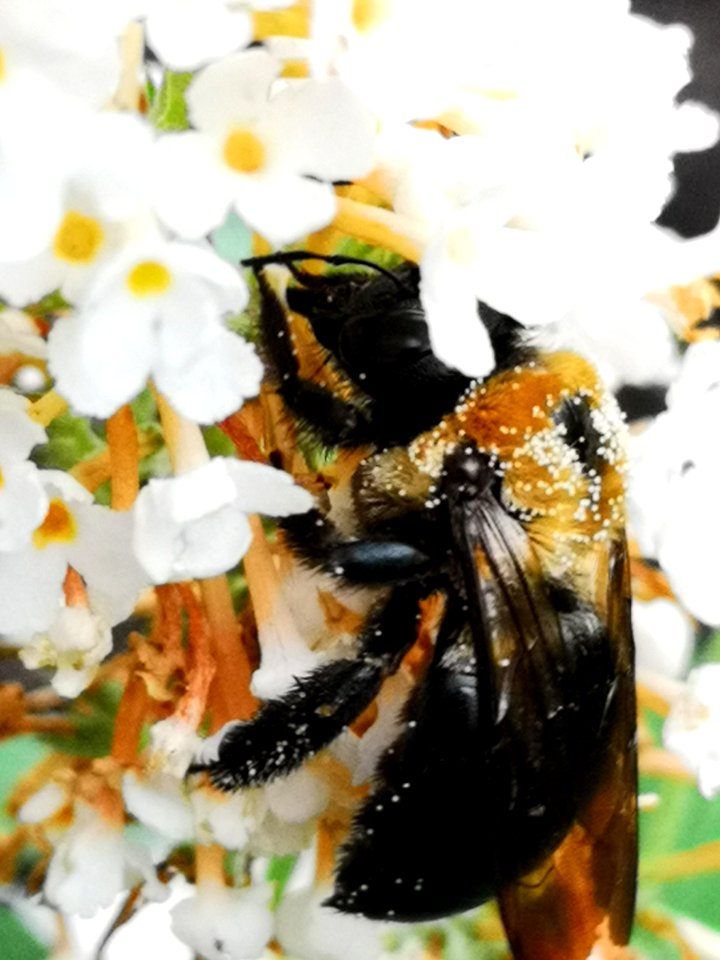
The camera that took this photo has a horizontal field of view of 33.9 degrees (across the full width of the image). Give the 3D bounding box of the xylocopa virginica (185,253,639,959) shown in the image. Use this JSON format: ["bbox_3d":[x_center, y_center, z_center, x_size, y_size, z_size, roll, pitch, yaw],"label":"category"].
[{"bbox_3d":[0.040,0.052,0.521,0.112,0.230,0.259,-3,95,26],"label":"xylocopa virginica"}]

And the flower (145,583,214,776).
[{"bbox_3d":[-0.073,0.085,0.516,0.025,0.026,0.082,-2,93,42],"label":"flower"}]
